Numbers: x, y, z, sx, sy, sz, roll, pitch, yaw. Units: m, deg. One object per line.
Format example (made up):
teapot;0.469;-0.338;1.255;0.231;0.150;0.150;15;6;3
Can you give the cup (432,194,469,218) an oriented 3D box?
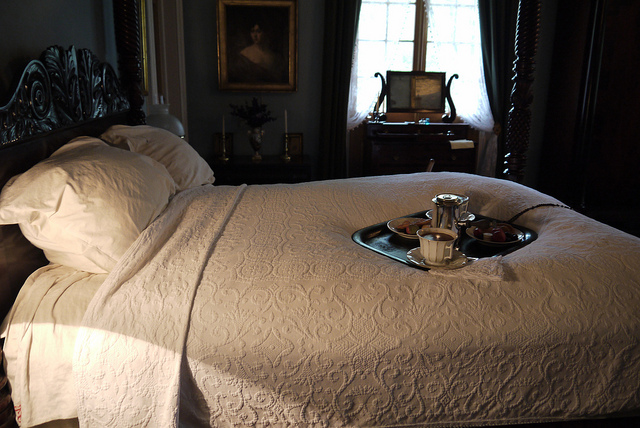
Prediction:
cup;0.685;-0.062;2.435;0.132;0.130;0.168;-3;39;9

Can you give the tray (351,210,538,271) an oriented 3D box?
tray;0.604;0.111;2.285;0.864;0.109;0.553;-10;20;-28

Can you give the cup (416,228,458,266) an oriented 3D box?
cup;0.495;0.139;2.010;0.151;0.115;0.157;-2;15;1

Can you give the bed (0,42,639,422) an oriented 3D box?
bed;-0.035;-0.037;2.160;2.781;1.448;1.411;-1;18;0
